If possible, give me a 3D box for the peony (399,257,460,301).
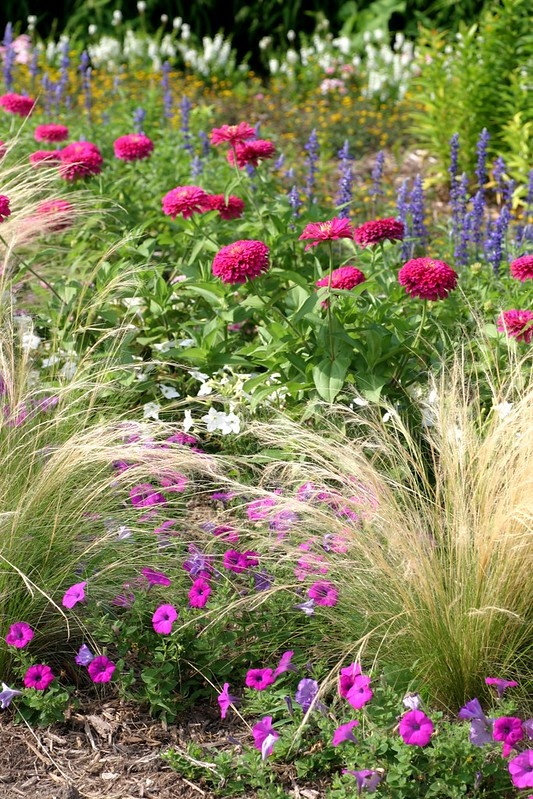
[{"bbox_3d":[0.519,-0.381,2.635,0.172,0.138,0.182,5,15,8],"label":"peony"}]
